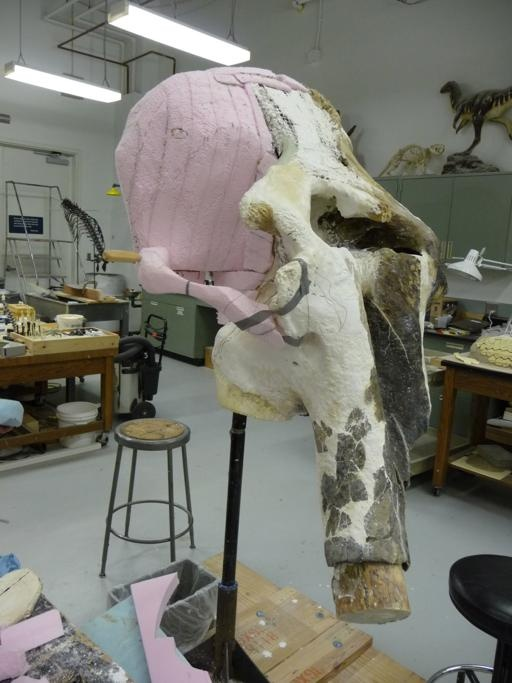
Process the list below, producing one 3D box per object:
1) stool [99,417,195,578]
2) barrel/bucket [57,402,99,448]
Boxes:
[{"bbox_3d":[-0.453,0.659,2.400,0.411,0.569,0.371,2,5,1],"label":"stool"},{"bbox_3d":[-1.108,0.525,3.643,0.306,0.232,0.280,2,13,0],"label":"barrel/bucket"}]
